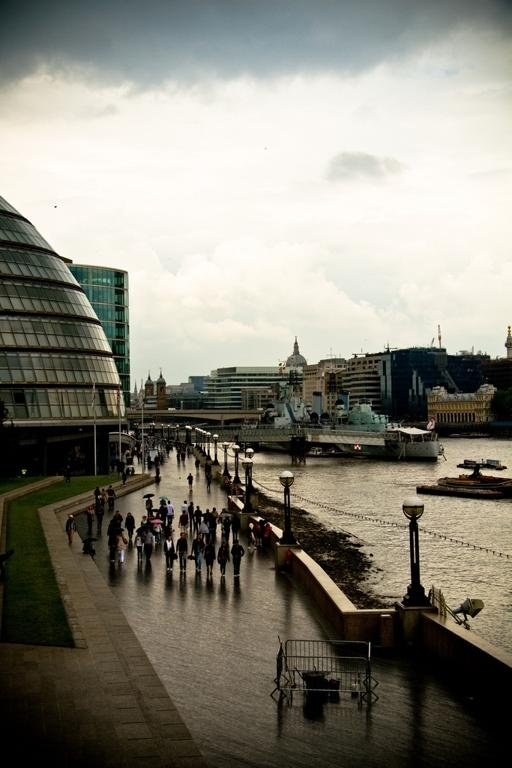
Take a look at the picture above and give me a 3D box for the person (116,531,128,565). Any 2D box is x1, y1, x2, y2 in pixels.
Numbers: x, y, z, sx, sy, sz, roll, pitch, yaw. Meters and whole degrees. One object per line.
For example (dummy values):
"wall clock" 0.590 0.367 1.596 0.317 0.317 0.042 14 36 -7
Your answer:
"person" -4.337 5.263 23.353 0.301 1.073 0.927 -1 2 -11

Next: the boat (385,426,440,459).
"boat" 22.447 8.456 103.229 3.522 3.510 11.056 -2 0 -19

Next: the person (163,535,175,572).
"person" -2.634 5.158 22.271 0.344 0.964 0.900 -1 2 -6

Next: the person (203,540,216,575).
"person" -1.399 5.275 21.901 0.250 0.931 0.658 -1 2 0

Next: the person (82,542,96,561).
"person" -5.418 5.303 23.598 0.357 0.833 1.018 -2 2 -14

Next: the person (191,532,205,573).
"person" -1.762 5.211 22.184 0.410 1.132 1.038 -1 2 -6
